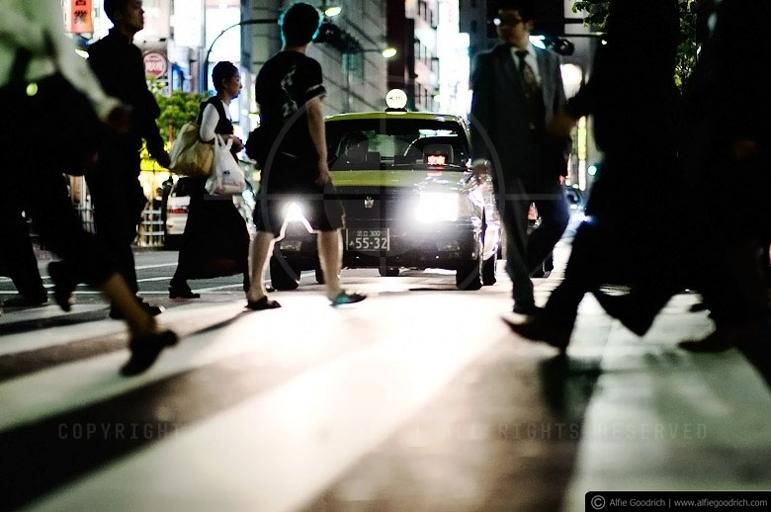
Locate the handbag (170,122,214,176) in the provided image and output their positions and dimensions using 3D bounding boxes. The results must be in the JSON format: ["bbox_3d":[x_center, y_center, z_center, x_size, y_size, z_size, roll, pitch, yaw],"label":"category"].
[{"bbox_3d":[-2.000,-1.102,7.406,0.511,0.530,0.280,8,8,33],"label":"handbag"}]

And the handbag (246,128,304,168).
[{"bbox_3d":[-1.045,-1.025,6.600,0.614,0.379,0.245,4,6,44],"label":"handbag"}]

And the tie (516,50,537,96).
[{"bbox_3d":[1.121,-1.478,5.698,0.071,0.286,0.301,-11,7,4],"label":"tie"}]

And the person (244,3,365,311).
[{"bbox_3d":[-0.810,-0.945,6.690,0.932,2.976,0.693,2,4,28],"label":"person"}]

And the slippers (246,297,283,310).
[{"bbox_3d":[-1.172,0.468,6.803,0.254,0.116,0.153,4,-5,-23],"label":"slippers"}]

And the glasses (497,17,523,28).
[{"bbox_3d":[1.001,-1.903,5.741,0.103,0.034,0.112,1,2,25],"label":"glasses"}]
